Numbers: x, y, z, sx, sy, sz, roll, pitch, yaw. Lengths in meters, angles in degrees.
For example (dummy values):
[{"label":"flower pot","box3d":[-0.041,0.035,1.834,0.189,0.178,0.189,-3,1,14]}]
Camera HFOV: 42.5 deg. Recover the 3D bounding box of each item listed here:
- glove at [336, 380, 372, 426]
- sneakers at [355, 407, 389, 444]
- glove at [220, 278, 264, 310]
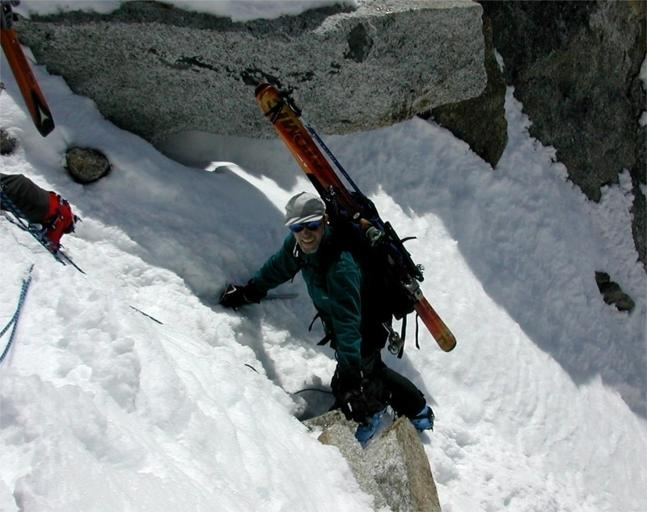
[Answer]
[{"label":"glove","box3d":[0.373,1.709,9.750,0.480,0.340,0.193,51,4,4]},{"label":"sneakers","box3d":[0.593,2.083,10.256,0.486,0.296,0.113,-42,49,-18]},{"label":"glove","box3d":[-1.038,0.527,10.693,0.716,0.265,0.331,-12,-7,0]}]
